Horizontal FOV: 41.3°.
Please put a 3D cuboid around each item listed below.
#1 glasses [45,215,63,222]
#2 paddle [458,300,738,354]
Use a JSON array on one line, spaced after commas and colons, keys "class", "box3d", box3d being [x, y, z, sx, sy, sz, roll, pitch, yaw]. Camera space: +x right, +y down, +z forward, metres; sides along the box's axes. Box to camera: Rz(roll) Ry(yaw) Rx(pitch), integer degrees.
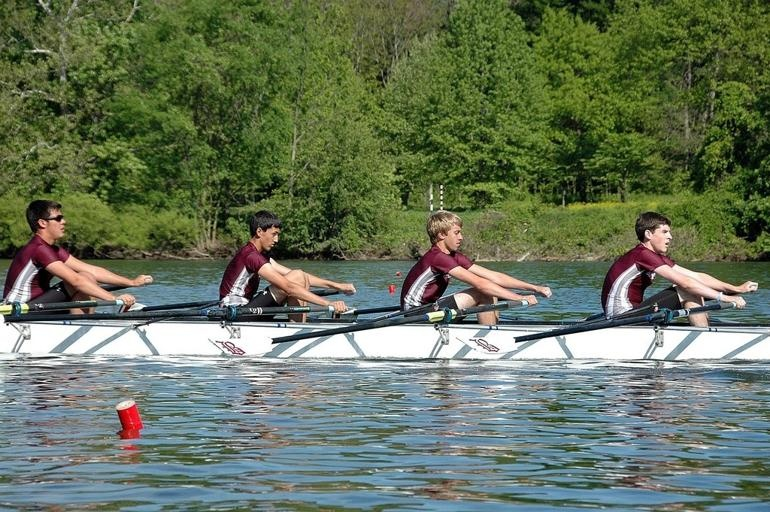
[{"class": "glasses", "box3d": [-4.832, -0.559, 15.099, 0.114, 0.093, 0.295, 3, 6, 23]}, {"class": "paddle", "box3d": [3.090, 1.060, 14.831, 3.596, 0.209, 0.236, -8, 37, 10]}]
